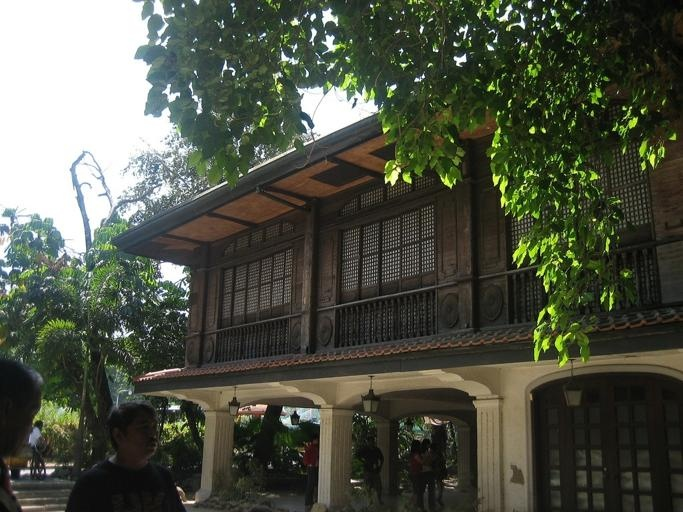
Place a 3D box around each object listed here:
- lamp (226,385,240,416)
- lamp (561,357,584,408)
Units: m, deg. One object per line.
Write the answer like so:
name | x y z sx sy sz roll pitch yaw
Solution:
lamp | -2.706 3.674 16.288 0.221 0.722 1.203 5 -22 -8
lamp | 3.753 2.093 10.451 0.305 0.670 0.859 -5 -22 19
